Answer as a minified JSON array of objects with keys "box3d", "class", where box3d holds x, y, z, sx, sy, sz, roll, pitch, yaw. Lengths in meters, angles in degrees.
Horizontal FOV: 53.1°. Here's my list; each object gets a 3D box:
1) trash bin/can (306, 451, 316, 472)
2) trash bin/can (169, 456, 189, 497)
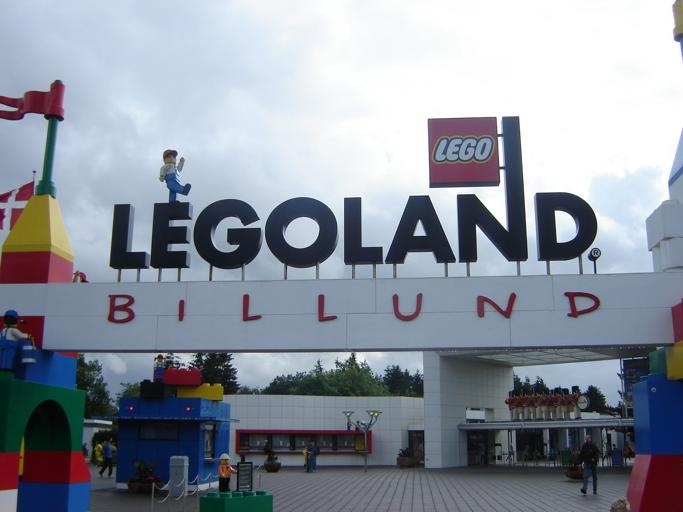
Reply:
[{"box3d":[-1.748,11.167,37.514,0.434,1.197,1.609,1,-14,-6],"class":"trash bin/can"},{"box3d":[-5.814,7.878,24.391,0.576,1.427,1.368,4,-14,-17],"class":"trash bin/can"}]
